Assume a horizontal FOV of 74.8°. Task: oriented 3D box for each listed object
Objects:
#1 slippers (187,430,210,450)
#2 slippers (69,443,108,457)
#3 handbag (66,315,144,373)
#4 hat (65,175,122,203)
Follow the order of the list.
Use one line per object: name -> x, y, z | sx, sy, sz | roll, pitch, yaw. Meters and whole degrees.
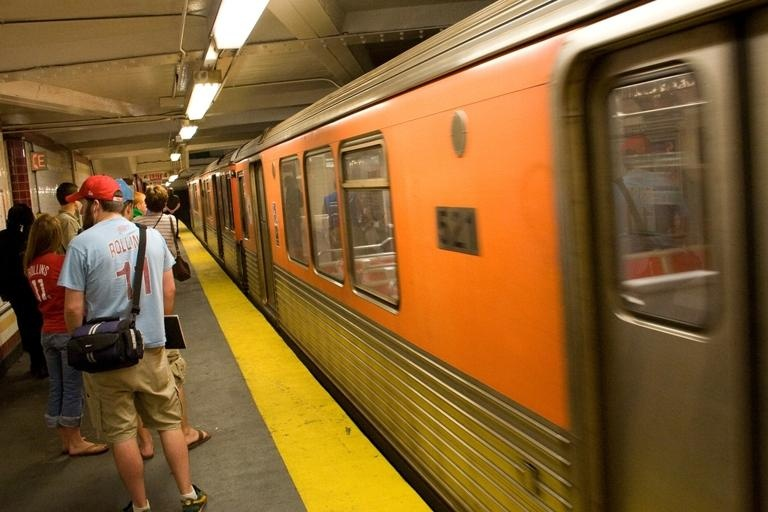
slippers -> -1.634, 1.606, 4.423 | 0.092, 0.079, 0.228 | -10, 12, 27
slippers -> -2.633, 1.721, 4.433 | 0.271, 0.095, 0.125 | -5, 4, -16
handbag -> -1.754, 0.561, 3.262 | 0.576, 0.382, 0.319 | -9, -16, 8
hat -> -2.024, -0.454, 3.441 | 0.361, 0.167, 0.210 | 1, 9, 0
